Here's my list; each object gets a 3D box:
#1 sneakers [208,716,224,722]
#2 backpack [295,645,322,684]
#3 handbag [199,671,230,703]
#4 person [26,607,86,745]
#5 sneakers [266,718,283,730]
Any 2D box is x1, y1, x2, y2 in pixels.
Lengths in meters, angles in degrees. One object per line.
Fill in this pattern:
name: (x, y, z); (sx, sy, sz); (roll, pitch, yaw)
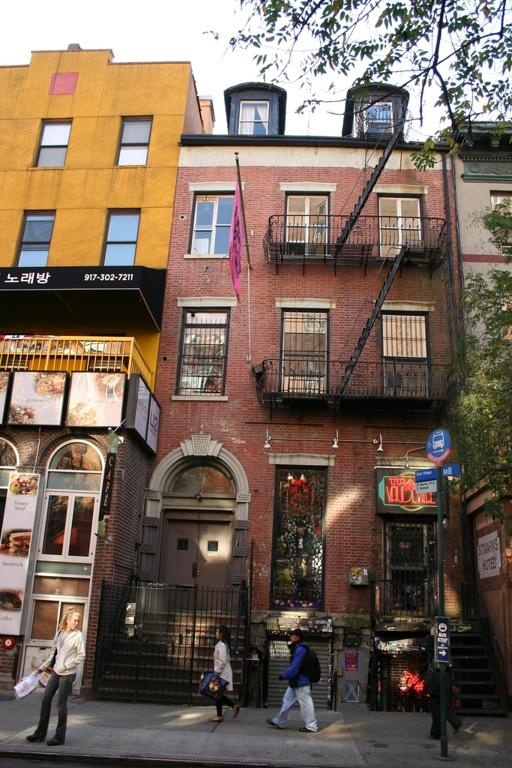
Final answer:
sneakers: (-0.568, 4.776, 9.199); (0.203, 0.077, 0.231); (4, -20, -7)
backpack: (0.722, 3.798, 8.727); (0.240, 0.453, 0.470); (-2, -20, 10)
handbag: (-0.644, 4.241, 9.179); (0.432, 0.437, 0.160); (25, -19, -8)
person: (-2.254, 3.307, 7.305); (0.486, 1.372, 0.577); (8, -21, -17)
sneakers: (0.246, 4.708, 8.936); (0.272, 0.126, 0.095); (6, -9, 43)
